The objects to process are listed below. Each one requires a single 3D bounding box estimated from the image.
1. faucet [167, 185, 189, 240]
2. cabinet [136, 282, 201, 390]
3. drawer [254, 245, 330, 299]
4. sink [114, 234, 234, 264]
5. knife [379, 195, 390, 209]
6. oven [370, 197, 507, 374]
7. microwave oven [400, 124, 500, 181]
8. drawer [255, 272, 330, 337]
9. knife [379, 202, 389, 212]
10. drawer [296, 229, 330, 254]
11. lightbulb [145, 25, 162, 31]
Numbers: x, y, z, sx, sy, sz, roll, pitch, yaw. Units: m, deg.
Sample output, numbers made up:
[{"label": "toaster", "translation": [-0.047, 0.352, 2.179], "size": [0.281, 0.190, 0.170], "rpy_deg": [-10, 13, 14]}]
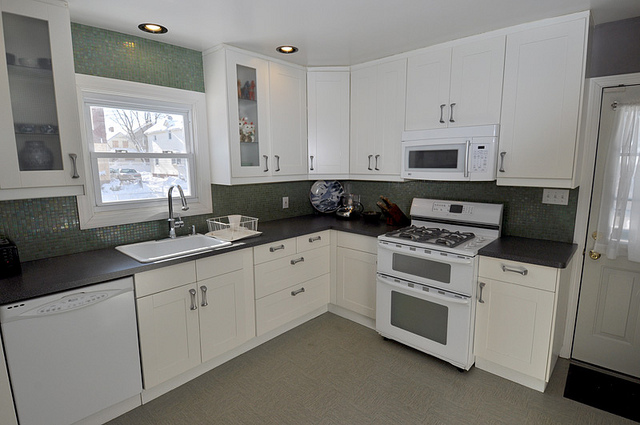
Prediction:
[{"label": "faucet", "translation": [-1.362, -0.009, 4.000], "size": [0.196, 0.522, 0.370], "rpy_deg": [-5, 11, -19]}, {"label": "cabinet", "translation": [-1.215, 1.150, 3.784], "size": [0.580, 0.884, 0.622], "rpy_deg": [-24, -34, 8]}, {"label": "drawer", "translation": [-0.299, 0.589, 4.238], "size": [0.474, 0.231, 0.671], "rpy_deg": [4, 10, 40]}, {"label": "sink", "translation": [-1.307, 0.339, 3.794], "size": [0.870, 0.142, 0.574], "rpy_deg": [-8, 12, -36]}, {"label": "knife", "translation": [0.711, -0.122, 4.621], "size": [0.048, 0.173, 0.055], "rpy_deg": [-39, 7, 32]}, {"label": "oven", "translation": [1.193, 0.603, 4.178], "size": [1.219, 1.388, 1.111], "rpy_deg": [2, 13, 18]}, {"label": "microwave oven", "translation": [1.294, -0.573, 4.204], "size": [0.874, 0.502, 0.517], "rpy_deg": [5, 16, 27]}, {"label": "drawer", "translation": [-0.457, 0.861, 4.556], "size": [0.696, 0.388, 1.009], "rpy_deg": [15, 22, 42]}, {"label": "knife", "translation": [0.705, -0.051, 4.614], "size": [0.166, 0.043, 0.042], "rpy_deg": [37, 7, 9]}, {"label": "drawer", "translation": [-0.074, 0.305, 4.389], "size": [0.256, 0.089, 0.242], "rpy_deg": [6, 11, 42]}, {"label": "lightbulb", "translation": [-1.467, -1.624, 3.692], "size": [0.132, 0.028, 0.081], "rpy_deg": [-2, 9, -1]}]
